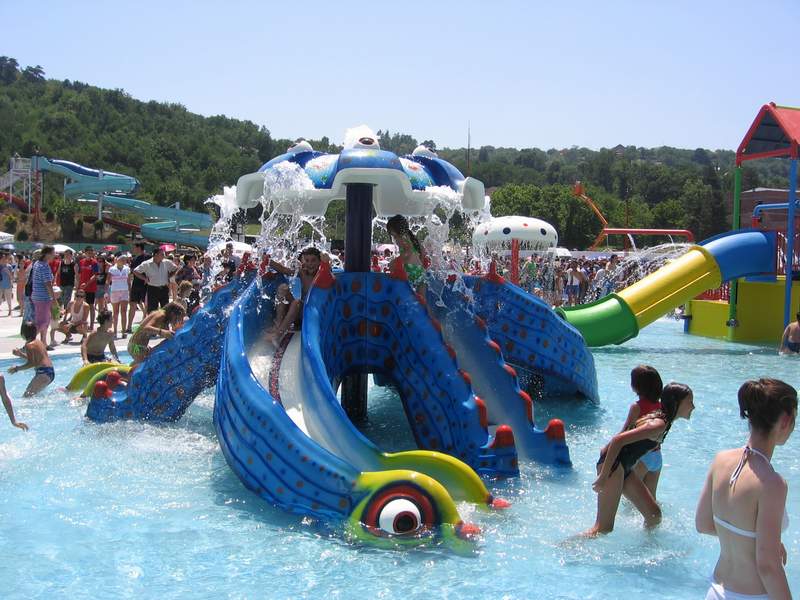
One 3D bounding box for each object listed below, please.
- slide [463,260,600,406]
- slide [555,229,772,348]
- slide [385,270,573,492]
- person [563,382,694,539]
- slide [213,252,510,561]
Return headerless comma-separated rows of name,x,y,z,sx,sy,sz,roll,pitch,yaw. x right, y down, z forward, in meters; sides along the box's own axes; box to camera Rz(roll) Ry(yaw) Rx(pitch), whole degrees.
slide,1.842,0.877,10.331,1.976,1.294,3.595,5,-14,10
slide,5.105,-0.124,13.950,5.199,1.647,1.053,-8,-14,-4
slide,0.878,0.856,7.412,0.770,3.471,0.923,-12,-29,-23
person,1.763,1.192,5.232,0.674,1.236,0.498,2,6,2
slide,-0.003,0.804,6.338,2.357,1.079,3.426,-3,24,-29
